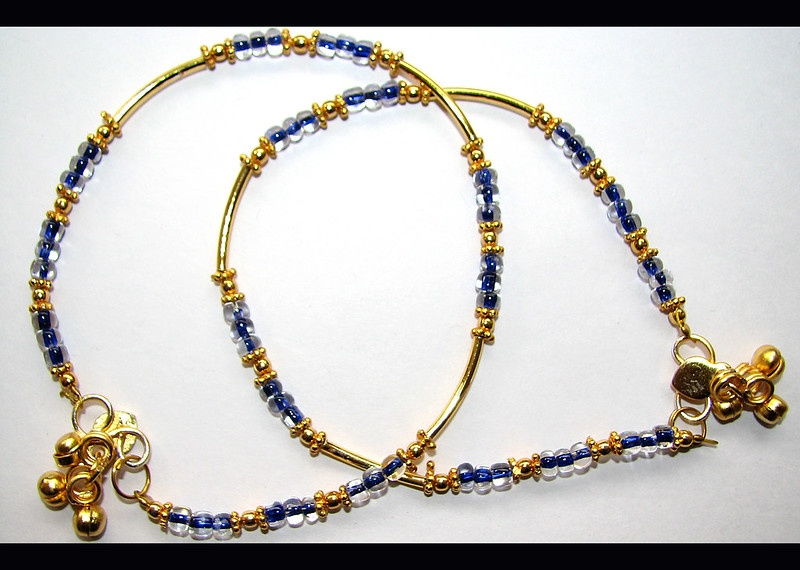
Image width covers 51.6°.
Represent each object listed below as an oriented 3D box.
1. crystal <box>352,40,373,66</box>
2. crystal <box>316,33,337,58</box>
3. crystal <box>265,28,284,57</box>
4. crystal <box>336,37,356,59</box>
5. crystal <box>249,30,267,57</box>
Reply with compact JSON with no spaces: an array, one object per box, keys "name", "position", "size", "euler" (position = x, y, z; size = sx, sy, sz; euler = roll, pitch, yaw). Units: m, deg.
[{"name":"crystal","position":[-0.147,-0.882,3.139],"size":[0.085,0.046,0.082],"euler":[13,-77,28]},{"name":"crystal","position":[-0.289,-0.910,3.136],"size":[0.074,0.039,0.077],"euler":[7,-69,11]},{"name":"crystal","position":[-0.480,-0.931,3.139],"size":[0.084,0.085,0.131],"euler":[-7,-74,-19]},{"name":"crystal","position":[-0.211,-0.903,3.132],"size":[0.066,0.031,0.071],"euler":[6,-74,16]},{"name":"crystal","position":[-0.546,-0.921,3.140],"size":[0.058,0.035,0.088],"euler":[0,-70,-4]}]
